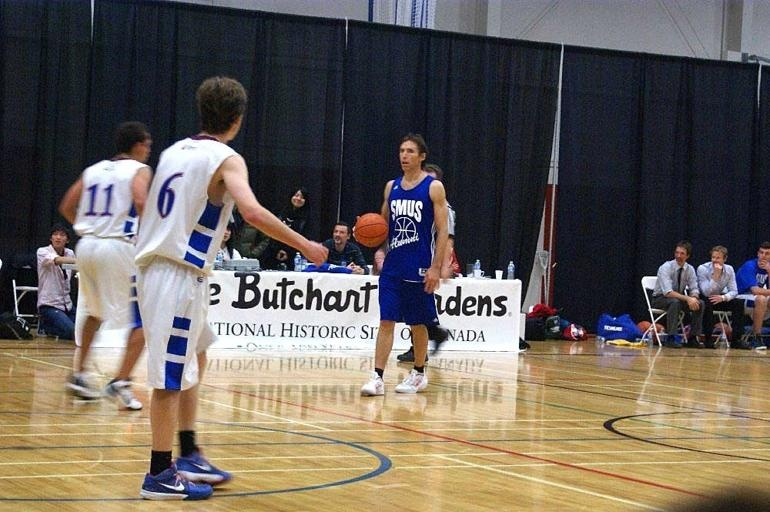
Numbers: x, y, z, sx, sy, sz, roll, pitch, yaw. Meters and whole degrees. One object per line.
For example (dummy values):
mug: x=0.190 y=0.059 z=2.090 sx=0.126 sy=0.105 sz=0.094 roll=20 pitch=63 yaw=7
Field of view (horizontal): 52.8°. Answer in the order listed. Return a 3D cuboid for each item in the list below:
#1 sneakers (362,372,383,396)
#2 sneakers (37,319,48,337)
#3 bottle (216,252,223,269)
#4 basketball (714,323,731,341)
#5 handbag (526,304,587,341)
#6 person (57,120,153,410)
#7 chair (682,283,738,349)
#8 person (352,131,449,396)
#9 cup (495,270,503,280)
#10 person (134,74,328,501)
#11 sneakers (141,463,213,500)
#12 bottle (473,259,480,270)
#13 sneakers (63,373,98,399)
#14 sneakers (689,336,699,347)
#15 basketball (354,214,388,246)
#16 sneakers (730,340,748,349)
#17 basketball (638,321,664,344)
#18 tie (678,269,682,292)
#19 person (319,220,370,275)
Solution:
sneakers: x=-0.112 y=1.262 z=7.523 sx=0.114 sy=0.162 sz=0.314 roll=-2 pitch=-13 yaw=14
sneakers: x=-4.865 y=1.017 z=11.066 sx=0.137 sy=0.199 sz=0.427 roll=2 pitch=3 yaw=-20
bottle: x=-2.082 y=0.060 z=9.797 sx=0.044 sy=0.204 sz=0.203 roll=5 pitch=2 yaw=-2
basketball: x=5.788 y=1.305 z=13.414 sx=0.230 sy=0.341 sz=0.332 roll=1 pitch=-2 yaw=1
handbag: x=2.776 y=1.192 z=13.341 sx=0.938 sy=0.535 sz=0.626 roll=16 pitch=-11 yaw=-24
person: x=-2.416 y=0.038 z=6.866 sx=0.725 sy=2.535 sz=0.684 roll=6 pitch=5 yaw=4
chair: x=5.501 y=0.752 z=12.933 sx=0.556 sy=1.480 sz=0.763 roll=9 pitch=7 yaw=22
person: x=0.209 y=0.076 z=7.720 sx=0.749 sy=2.546 sz=0.688 roll=2 pitch=3 yaw=-1
cup: x=1.625 y=0.275 z=11.258 sx=0.155 sy=0.142 sz=0.163 roll=0 pitch=-3 yaw=0
person: x=-1.110 y=0.177 z=4.796 sx=0.852 sy=2.619 sz=0.511 roll=1 pitch=4 yaw=-9
sneakers: x=-1.286 y=1.411 z=4.820 sx=0.453 sy=0.238 sz=0.183 roll=1 pitch=-2 yaw=-12
bottle: x=1.448 y=0.132 z=12.293 sx=0.115 sy=0.217 sz=0.123 roll=4 pitch=-10 yaw=1
sneakers: x=-2.685 y=1.163 z=6.874 sx=0.292 sy=0.113 sz=0.184 roll=29 pitch=6 yaw=27
sneakers: x=5.073 y=1.404 z=12.769 sx=0.170 sy=0.172 sz=0.262 roll=3 pitch=4 yaw=18
basketball: x=-0.184 y=-0.313 z=9.002 sx=0.347 sy=0.404 sz=0.373 roll=-6 pitch=-9 yaw=-16
sneakers: x=5.847 y=1.477 z=12.855 sx=0.094 sy=0.125 sz=0.265 roll=4 pitch=-7 yaw=-44
basketball: x=4.515 y=1.313 z=13.233 sx=0.397 sy=0.400 sz=0.326 roll=8 pitch=-4 yaw=9
tie: x=4.840 y=0.401 z=12.772 sx=0.065 sy=0.350 sz=0.027 roll=1 pitch=4 yaw=-11
person: x=-0.668 y=-0.091 z=11.168 sx=0.844 sy=0.819 sz=0.674 roll=4 pitch=-9 yaw=-1
